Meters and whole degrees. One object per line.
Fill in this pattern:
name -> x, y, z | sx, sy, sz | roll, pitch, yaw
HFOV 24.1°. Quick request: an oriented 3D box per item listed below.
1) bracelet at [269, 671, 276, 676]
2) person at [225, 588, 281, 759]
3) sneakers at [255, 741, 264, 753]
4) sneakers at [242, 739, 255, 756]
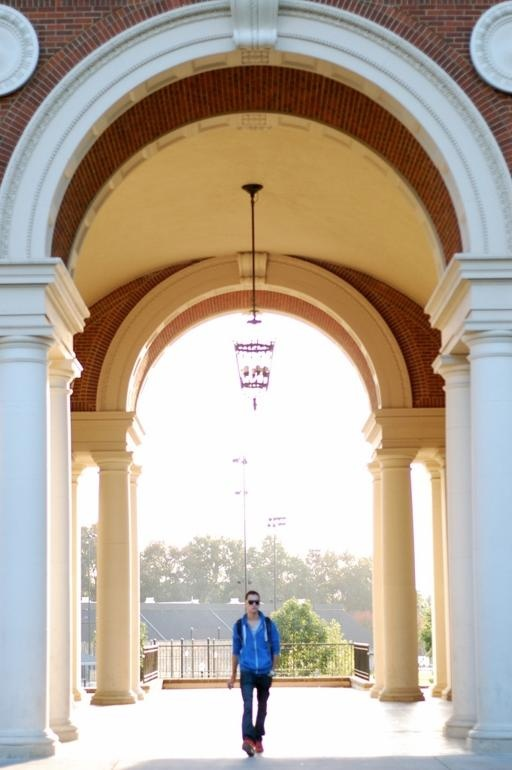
bracelet -> 0.157, 2.784, 11.531 | 0.048, 0.066, 0.048 | 0, -2, 35
person -> -0.012, 2.768, 11.529 | 0.485, 1.521, 1.110 | -1, -13, -1
sneakers -> 0.029, 3.489, 11.526 | 0.069, 0.105, 0.201 | -2, -13, 3
sneakers -> -0.064, 3.396, 11.211 | 0.073, 0.197, 0.141 | -6, -4, 2
